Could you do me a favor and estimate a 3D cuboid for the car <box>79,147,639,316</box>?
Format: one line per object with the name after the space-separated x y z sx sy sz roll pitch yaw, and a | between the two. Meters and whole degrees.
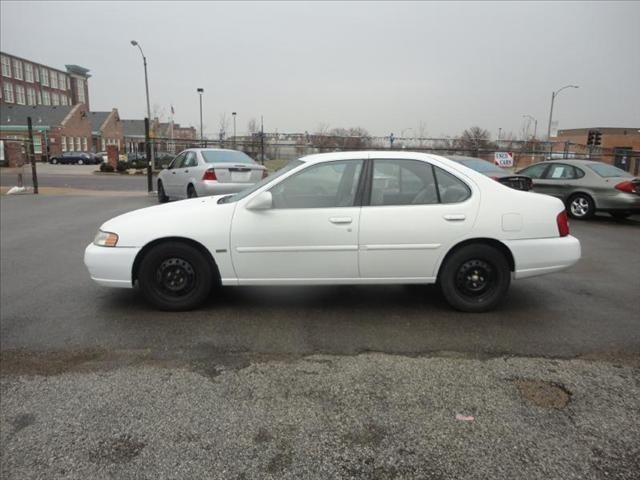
0.254 -0.110 5.191 6.163 1.845 2.443 1 3 -1 | car

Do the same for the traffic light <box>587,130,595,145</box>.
19.700 -7.456 25.784 0.368 0.910 0.799 9 16 36 | traffic light
